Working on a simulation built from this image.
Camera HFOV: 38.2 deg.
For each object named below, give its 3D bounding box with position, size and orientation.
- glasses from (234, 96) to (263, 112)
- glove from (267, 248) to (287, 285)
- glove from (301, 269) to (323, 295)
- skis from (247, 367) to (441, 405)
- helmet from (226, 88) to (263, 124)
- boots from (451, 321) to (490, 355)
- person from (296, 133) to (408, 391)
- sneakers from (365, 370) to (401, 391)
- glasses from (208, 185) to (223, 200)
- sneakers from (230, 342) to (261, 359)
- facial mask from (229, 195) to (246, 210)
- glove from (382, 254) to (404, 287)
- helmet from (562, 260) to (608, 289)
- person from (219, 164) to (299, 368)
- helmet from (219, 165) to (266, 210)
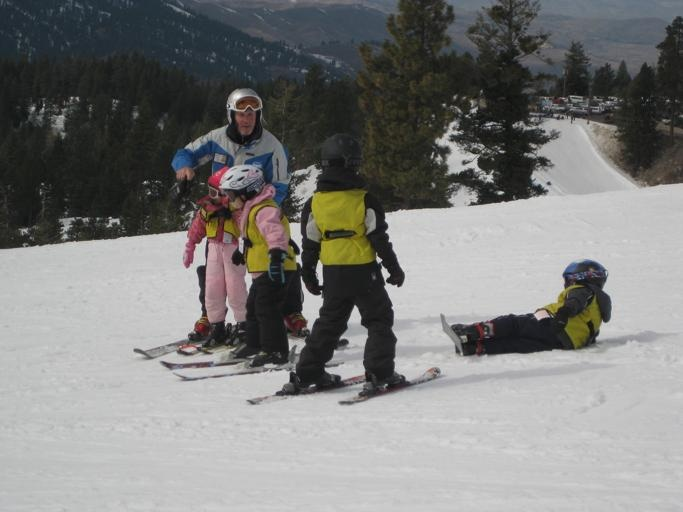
[{"bbox_3d":[-1.326,-2.206,14.261,0.434,0.214,0.135,-3,11,-32],"label":"glasses"},{"bbox_3d":[-0.861,0.121,13.196,0.295,0.397,0.148,0,-7,-15],"label":"glove"},{"bbox_3d":[-0.364,0.334,12.988,0.258,0.343,0.127,6,33,33],"label":"glove"},{"bbox_3d":[0.084,1.735,12.963,1.895,0.157,0.201,-8,13,-21],"label":"skis"},{"bbox_3d":[-1.412,-2.299,14.362,0.459,0.525,0.431,3,52,-10],"label":"helmet"},{"bbox_3d":[1.842,1.133,13.949,0.504,0.300,0.441,-9,13,-24],"label":"boots"},{"bbox_3d":[0.095,0.102,12.849,1.378,3.315,0.605,3,10,2],"label":"person"},{"bbox_3d":[0.557,1.616,12.977,0.547,0.229,0.188,-10,16,-25],"label":"sneakers"},{"bbox_3d":[-1.815,-0.909,14.143,0.165,0.090,0.185,22,14,42],"label":"glasses"},{"bbox_3d":[-1.378,1.364,14.004,0.350,0.145,0.190,2,-2,-24],"label":"sneakers"},{"bbox_3d":[-1.435,-0.756,13.800,0.159,0.223,0.066,6,22,16],"label":"facial mask"},{"bbox_3d":[0.752,0.186,12.810,0.145,0.345,0.352,-19,7,-32],"label":"glove"},{"bbox_3d":[3.538,0.284,14.214,0.485,0.381,0.412,18,-1,21],"label":"helmet"},{"bbox_3d":[-1.061,0.131,13.758,1.147,2.736,0.757,11,13,41],"label":"person"},{"bbox_3d":[-1.365,-0.973,13.689,0.634,0.584,0.498,5,10,-2],"label":"helmet"}]
